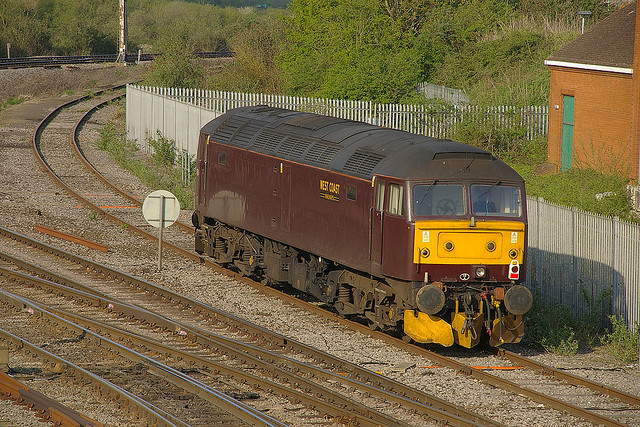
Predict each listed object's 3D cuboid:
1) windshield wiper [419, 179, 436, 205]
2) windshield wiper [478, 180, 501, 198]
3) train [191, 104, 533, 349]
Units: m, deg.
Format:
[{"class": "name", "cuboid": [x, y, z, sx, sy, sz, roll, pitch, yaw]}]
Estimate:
[{"class": "windshield wiper", "cuboid": [2.977, -0.633, 30.812, 0.060, 0.857, 0.083, 24, -9, -6]}, {"class": "windshield wiper", "cuboid": [4.785, -0.695, 31.142, 0.075, 0.675, 0.092, 23, 27, -53]}, {"class": "train", "cuboid": [0.760, -0.011, 34.537, 3.719, 6.183, 12.889, -12, 15, -39]}]
